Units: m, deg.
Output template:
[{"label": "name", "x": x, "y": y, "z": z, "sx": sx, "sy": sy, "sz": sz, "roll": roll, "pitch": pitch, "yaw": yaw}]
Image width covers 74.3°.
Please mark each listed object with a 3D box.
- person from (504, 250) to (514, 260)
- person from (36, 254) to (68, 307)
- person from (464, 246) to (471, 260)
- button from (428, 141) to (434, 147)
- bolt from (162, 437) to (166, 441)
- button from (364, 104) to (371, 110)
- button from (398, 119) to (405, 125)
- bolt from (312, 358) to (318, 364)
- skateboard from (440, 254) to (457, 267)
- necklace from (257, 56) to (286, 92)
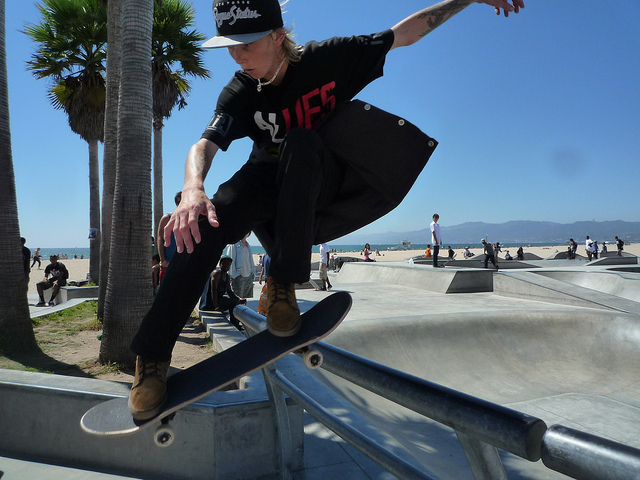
[{"label": "person", "x": 16.252, "y": 1.314, "z": 36.309, "sx": 0.728, "sy": 0.413, "sz": 1.161, "roll": -8, "pitch": -2, "yaw": 8}, {"label": "person", "x": -7.662, "y": 1.142, "z": 12.073, "sx": 0.736, "sy": 1.306, "sz": 1.981, "roll": 0, "pitch": 5, "yaw": -32}, {"label": "person", "x": 12.191, "y": 1.116, "z": 34.892, "sx": 0.726, "sy": 0.635, "sz": 1.840, "roll": -7, "pitch": 0, "yaw": 18}, {"label": "button", "x": 0.642, "y": -0.553, "z": 2.434, "sx": 0.030, "sy": 0.034, "sz": 0.007, "roll": 1, "pitch": -10, "yaw": 16}, {"label": "bolt", "x": -0.784, "y": 1.004, "z": 2.120, "sx": 0.015, "sy": 0.018, "sz": 0.003, "roll": 2, "pitch": 4, "yaw": -5}, {"label": "button", "x": 0.284, "y": -0.784, "z": 2.496, "sx": 0.034, "sy": 0.031, "sz": 0.015, "roll": 3, "pitch": 4, "yaw": 4}, {"label": "button", "x": 0.478, "y": -0.689, "z": 2.474, "sx": 0.036, "sy": 0.029, "sz": 0.005, "roll": 3, "pitch": 4, "yaw": 11}, {"label": "bolt", "x": -0.024, "y": 0.603, "z": 2.100, "sx": 0.025, "sy": 0.026, "sz": 0.004, "roll": 2, "pitch": 4, "yaw": -1}, {"label": "skateboard", "x": 6.927, "y": 1.104, "z": 22.654, "sx": 0.380, "sy": 0.321, "sz": 1.600, "roll": -10, "pitch": 7, "yaw": 42}, {"label": "necklace", "x": -0.282, "y": -0.943, "z": 2.458, "sx": 0.050, "sy": 0.192, "sz": 0.106, "roll": 39, "pitch": 17, "yaw": 34}]
